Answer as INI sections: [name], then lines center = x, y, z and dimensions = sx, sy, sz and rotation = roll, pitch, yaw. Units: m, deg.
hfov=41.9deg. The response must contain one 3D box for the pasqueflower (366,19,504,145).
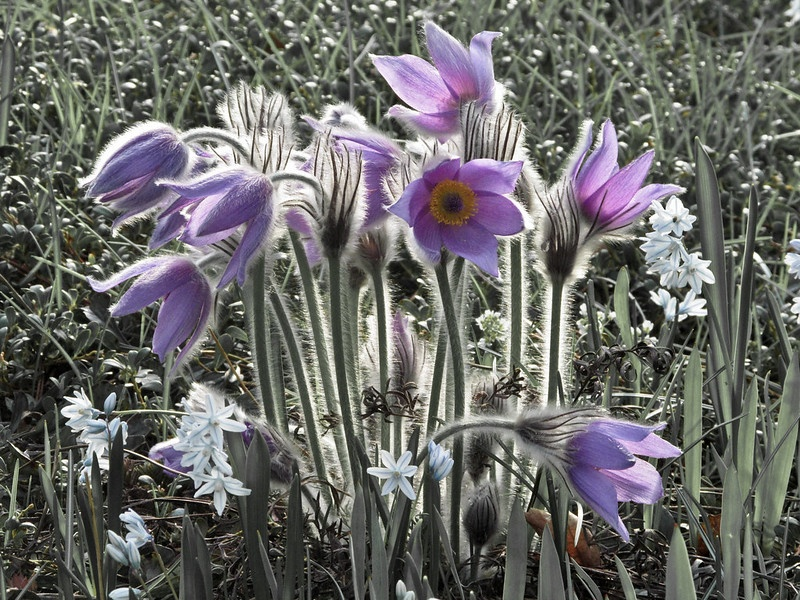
[pasqueflower]
center = 0.098, -0.526, 2.507
dimensions = 0.262, 0.283, 0.123
rotation = 28, -19, 40
